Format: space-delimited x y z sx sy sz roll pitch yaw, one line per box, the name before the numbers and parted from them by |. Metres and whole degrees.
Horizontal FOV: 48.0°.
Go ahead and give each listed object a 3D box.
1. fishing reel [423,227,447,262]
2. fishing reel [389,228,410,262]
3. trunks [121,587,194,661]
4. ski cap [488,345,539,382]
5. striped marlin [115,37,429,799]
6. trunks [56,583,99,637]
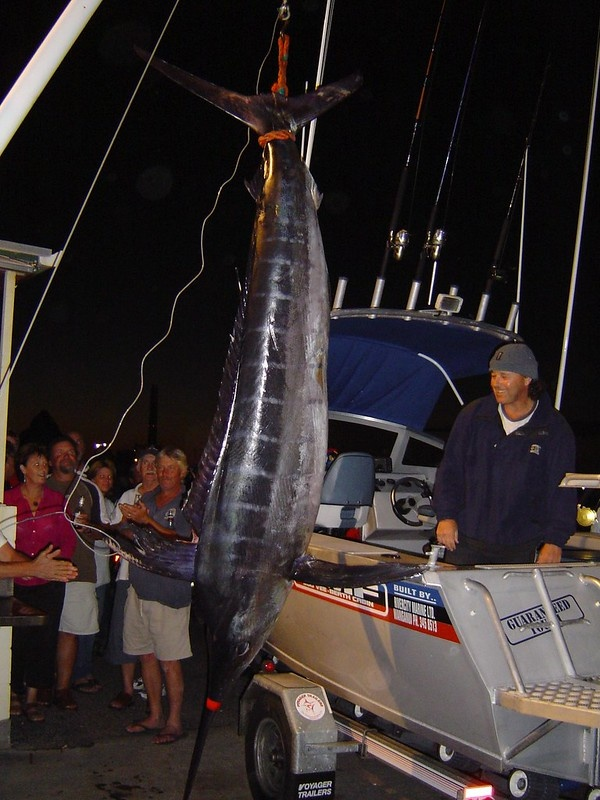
fishing reel | 0.928 -1.063 4.637 0.154 0.215 0.075 2 -34 7
fishing reel | 0.671 -1.027 4.507 0.083 0.135 0.197 20 -34 -11
trunks | -0.849 1.322 4.098 0.484 0.409 0.274 0 -7 25
ski cap | 1.005 -0.166 3.185 0.160 0.151 0.219 5 7 39
striped marlin | 0.019 -0.011 2.255 1.046 2.223 0.321 3 -8 22
trunks | -1.494 1.394 4.493 0.295 0.341 0.215 -16 -38 23
